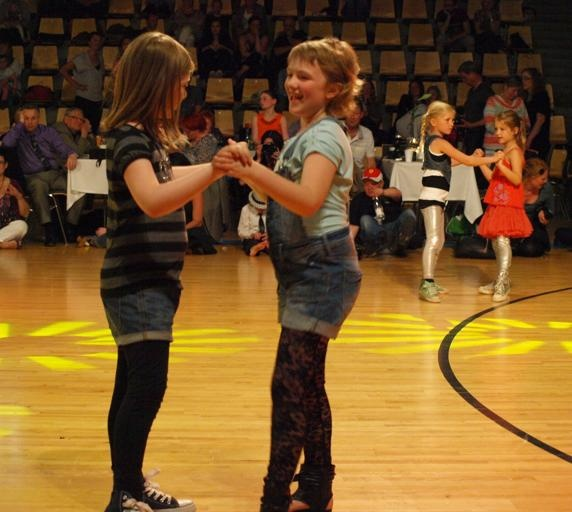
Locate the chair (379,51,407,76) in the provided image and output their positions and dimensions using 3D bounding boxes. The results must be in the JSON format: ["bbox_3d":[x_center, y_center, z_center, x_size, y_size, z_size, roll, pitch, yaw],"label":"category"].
[{"bbox_3d":[1.629,-2.955,9.647,0.405,0.386,0.265,2,10,4],"label":"chair"}]

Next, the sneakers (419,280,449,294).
[{"bbox_3d":[1.065,0.233,4.585,0.096,0.110,0.271,-4,-1,-4],"label":"sneakers"}]

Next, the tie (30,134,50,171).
[{"bbox_3d":[-2.624,-1.083,6.689,0.217,0.277,0.084,-5,13,2],"label":"tie"}]

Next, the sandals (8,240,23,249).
[{"bbox_3d":[-2.742,-0.119,6.322,0.097,0.065,0.215,-2,-1,-35],"label":"sandals"}]

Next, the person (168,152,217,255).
[{"bbox_3d":[-0.942,-0.521,6.046,0.486,1.069,0.422,-5,37,-10],"label":"person"}]

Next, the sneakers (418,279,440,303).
[{"bbox_3d":[1.031,0.248,4.535,0.131,0.148,0.145,2,10,5],"label":"sneakers"}]

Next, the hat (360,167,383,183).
[{"bbox_3d":[0.839,-0.767,6.023,0.209,0.147,0.136,-1,10,-10],"label":"hat"}]

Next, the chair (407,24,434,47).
[{"bbox_3d":[2.143,-3.501,9.999,0.399,0.387,0.237,2,10,9],"label":"chair"}]

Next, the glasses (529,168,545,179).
[{"bbox_3d":[2.354,-0.782,5.900,0.084,0.088,0.102,-13,31,-16],"label":"glasses"}]

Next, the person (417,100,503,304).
[{"bbox_3d":[1.255,-0.462,4.860,0.463,1.444,1.086,3,10,11],"label":"person"}]

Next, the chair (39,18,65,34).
[{"bbox_3d":[-3.668,-3.565,9.779,0.345,0.202,0.326,0,3,-9],"label":"chair"}]

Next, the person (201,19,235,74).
[{"bbox_3d":[-1.069,-3.028,9.290,0.598,0.844,0.538,3,9,-3],"label":"person"}]
